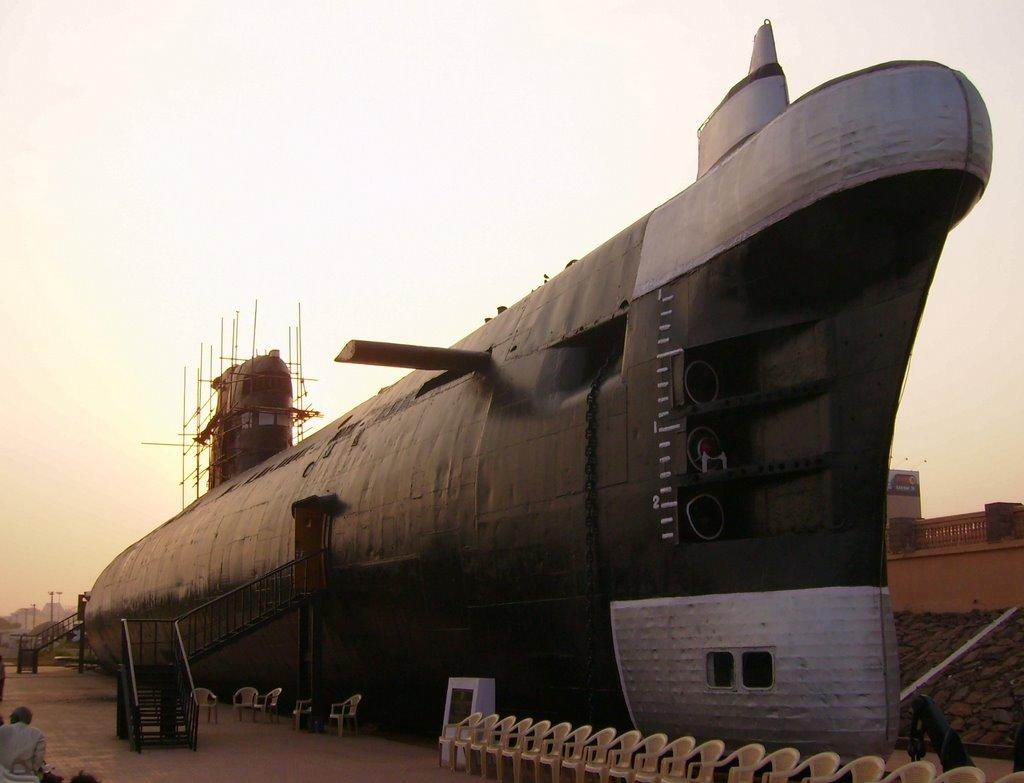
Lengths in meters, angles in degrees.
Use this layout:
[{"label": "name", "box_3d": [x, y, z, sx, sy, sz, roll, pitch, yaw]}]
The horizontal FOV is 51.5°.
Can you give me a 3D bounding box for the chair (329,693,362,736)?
[{"label": "chair", "box_3d": [-3.436, 6.688, 22.052, 0.713, 1.031, 0.731, 12, -18, -41]}]
